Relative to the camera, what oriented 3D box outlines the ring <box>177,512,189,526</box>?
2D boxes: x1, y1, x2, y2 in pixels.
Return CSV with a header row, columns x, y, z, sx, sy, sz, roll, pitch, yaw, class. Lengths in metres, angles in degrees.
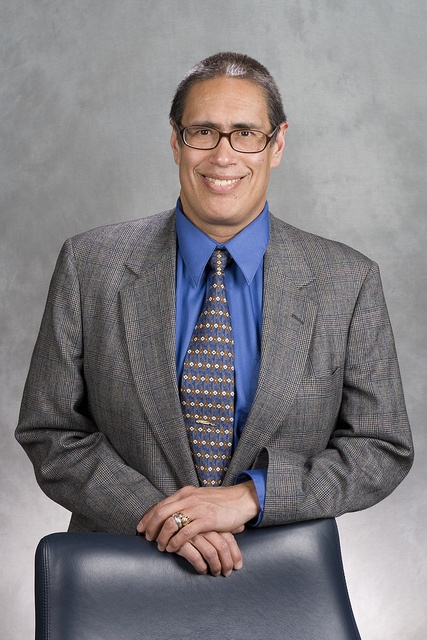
x,y,z,sx,sy,sz,roll,pitch,yaw,class
-0.049,0.328,0.962,0.015,0.012,0.018,2,-14,-10,ring
